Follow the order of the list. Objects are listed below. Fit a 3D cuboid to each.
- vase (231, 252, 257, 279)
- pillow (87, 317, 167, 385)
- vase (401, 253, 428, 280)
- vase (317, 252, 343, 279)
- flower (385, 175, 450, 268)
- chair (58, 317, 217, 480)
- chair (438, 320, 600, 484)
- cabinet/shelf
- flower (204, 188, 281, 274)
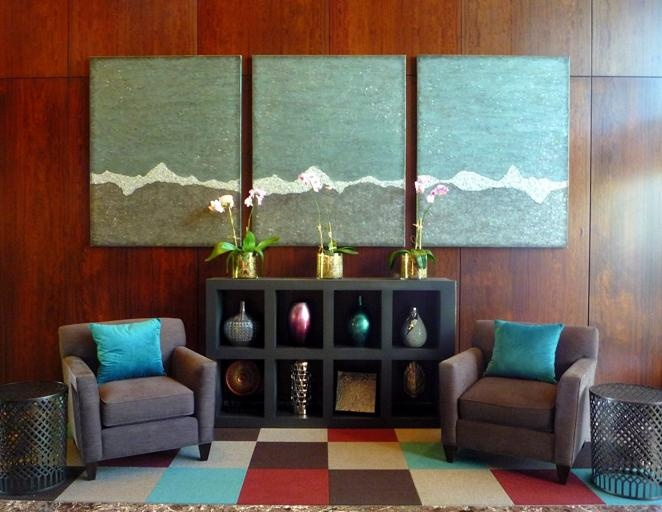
[{"bbox_3d":[-0.686,0.080,5.627,0.188,0.186,0.175,0,0,-5],"label":"vase"},{"bbox_3d":[-1.484,0.704,5.217,0.504,0.423,0.247,-2,0,-26],"label":"pillow"},{"bbox_3d":[0.656,0.084,5.601,0.193,0.179,0.187,2,-2,-5],"label":"vase"},{"bbox_3d":[-0.002,0.088,5.696,0.178,0.190,0.189,0,1,-44],"label":"vase"},{"bbox_3d":[0.733,-0.244,5.713,0.526,0.790,0.376,-3,7,-8],"label":"flower"},{"bbox_3d":[-1.444,0.992,5.215,1.065,0.965,1.022,-3,3,-41],"label":"chair"},{"bbox_3d":[1.386,1.023,5.217,1.188,0.982,1.230,1,1,-32],"label":"chair"},{"bbox_3d":[-0.011,0.757,5.747,1.860,1.232,0.488,0,0,1],"label":"cabinet/shelf"},{"bbox_3d":[-0.777,-0.184,5.791,0.645,0.712,0.678,2,0,-22],"label":"flower"}]
